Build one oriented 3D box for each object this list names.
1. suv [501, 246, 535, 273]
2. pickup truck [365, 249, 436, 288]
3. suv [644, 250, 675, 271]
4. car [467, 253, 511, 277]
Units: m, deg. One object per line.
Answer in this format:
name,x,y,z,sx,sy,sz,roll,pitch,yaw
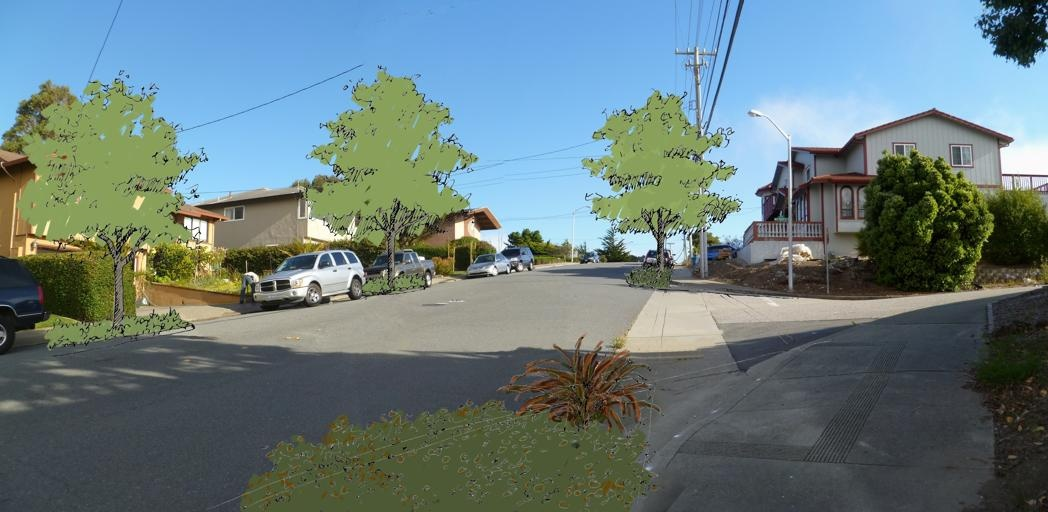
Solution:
suv,-0.556,0.158,51.445,1.473,1.249,2.673,-4,-6,25
pickup truck,-7.013,0.577,38.029,1.930,1.601,3.667,-4,-5,34
suv,8.596,0.252,41.127,1.398,1.015,3.073,0,4,20
car,-2.331,0.695,46.623,1.450,0.991,3.099,-4,-6,20
